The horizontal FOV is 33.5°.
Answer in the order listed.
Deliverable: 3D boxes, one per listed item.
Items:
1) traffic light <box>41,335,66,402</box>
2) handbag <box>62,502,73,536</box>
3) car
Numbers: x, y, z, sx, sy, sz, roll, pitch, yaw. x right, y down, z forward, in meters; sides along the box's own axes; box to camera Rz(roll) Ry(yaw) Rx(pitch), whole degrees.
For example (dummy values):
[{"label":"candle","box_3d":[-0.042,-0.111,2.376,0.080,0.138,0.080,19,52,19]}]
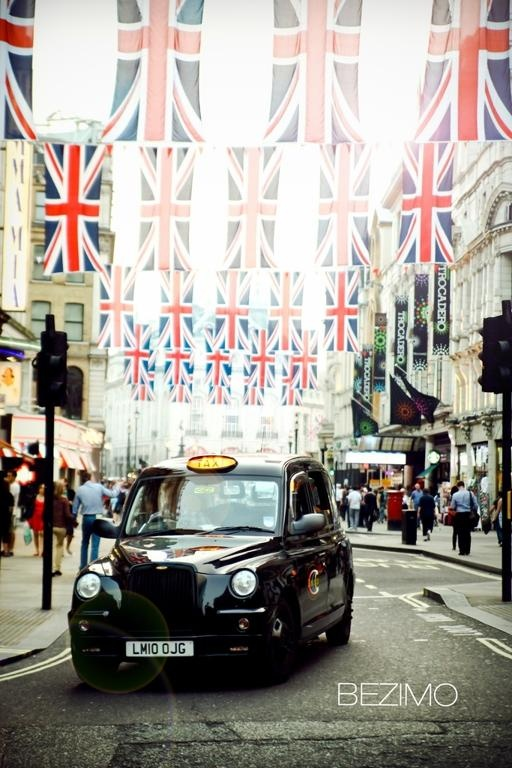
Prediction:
[{"label":"traffic light","box_3d":[-2.450,-0.180,10.241,0.325,0.884,0.410,-1,3,-17]},{"label":"handbag","box_3d":[-3.361,2.398,15.210,0.346,0.552,0.185,-2,-6,-6]},{"label":"car","box_3d":[-0.232,1.330,6.633,1.187,1.223,2.402,-3,-11,12]}]
